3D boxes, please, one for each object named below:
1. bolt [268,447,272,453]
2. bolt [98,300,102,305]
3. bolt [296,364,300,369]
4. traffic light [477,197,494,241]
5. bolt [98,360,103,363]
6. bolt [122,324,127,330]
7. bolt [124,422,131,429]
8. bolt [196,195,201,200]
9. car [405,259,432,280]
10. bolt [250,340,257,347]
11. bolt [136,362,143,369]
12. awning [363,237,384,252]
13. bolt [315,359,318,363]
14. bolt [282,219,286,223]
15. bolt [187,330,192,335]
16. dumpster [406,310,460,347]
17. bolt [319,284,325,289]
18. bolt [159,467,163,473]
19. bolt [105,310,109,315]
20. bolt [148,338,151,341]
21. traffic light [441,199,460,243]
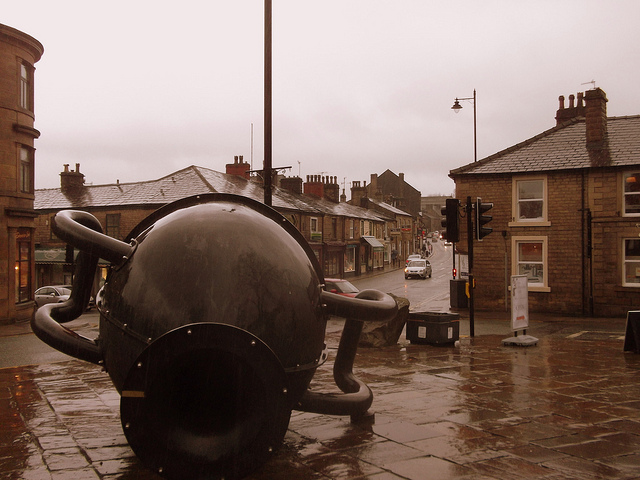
[{"bbox_3d":[-0.575,2.397,7.563,0.042,0.036,0.046,23,36,-11],"label":"bolt"},{"bbox_3d":[-2.822,0.795,8.446,0.040,0.050,0.048,-2,-7,6],"label":"bolt"},{"bbox_3d":[-0.283,1.554,8.142,0.050,0.055,0.014,2,2,-7],"label":"bolt"},{"bbox_3d":[4.450,-0.558,17.939,0.388,1.127,1.397,1,4,14],"label":"traffic light"},{"bbox_3d":[-2.851,1.572,8.560,0.055,0.025,0.041,-1,-3,0],"label":"bolt"},{"bbox_3d":[-2.328,1.032,7.869,0.055,0.059,0.034,1,-1,-11],"label":"bolt"},{"bbox_3d":[-2.154,2.066,7.370,0.074,0.072,0.008,0,4,4],"label":"bolt"},{"bbox_3d":[-1.655,-0.577,8.940,0.040,0.044,0.011,-5,18,-12],"label":"bolt"},{"bbox_3d":[6.959,2.114,46.877,1.657,1.169,2.877,1,4,15],"label":"car"},{"bbox_3d":[-0.763,1.158,7.471,0.050,0.044,0.052,1,1,4],"label":"bolt"},{"bbox_3d":[-2.011,1.386,7.345,0.061,0.057,0.006,0,4,-3],"label":"bolt"},{"bbox_3d":[4.731,0.463,58.018,1.115,1.560,5.623,0,3,11],"label":"awning"},{"bbox_3d":[-0.054,1.542,8.438,0.035,0.039,0.023,1,0,-5],"label":"bolt"},{"bbox_3d":[-0.499,-0.266,9.016,0.055,0.034,0.022,-3,4,-36],"label":"bolt"},{"bbox_3d":[-1.463,1.027,7.360,0.034,0.044,0.039,-8,10,-11],"label":"bolt"},{"bbox_3d":[2.849,2.264,16.906,0.834,0.856,1.076,0,1,-41],"label":"dumpster"},{"bbox_3d":[0.015,0.615,8.800,0.038,0.063,0.061,11,-14,11],"label":"bolt"},{"bbox_3d":[-1.781,2.561,7.372,0.036,0.056,0.008,0,4,10],"label":"bolt"},{"bbox_3d":[-2.618,0.886,8.098,0.042,0.012,0.044,-17,31,-40],"label":"bolt"},{"bbox_3d":[-1.996,1.154,7.701,0.037,0.029,0.006,1,4,24],"label":"bolt"},{"bbox_3d":[3.530,-0.505,18.013,0.493,1.205,1.293,0,4,11],"label":"traffic light"}]
